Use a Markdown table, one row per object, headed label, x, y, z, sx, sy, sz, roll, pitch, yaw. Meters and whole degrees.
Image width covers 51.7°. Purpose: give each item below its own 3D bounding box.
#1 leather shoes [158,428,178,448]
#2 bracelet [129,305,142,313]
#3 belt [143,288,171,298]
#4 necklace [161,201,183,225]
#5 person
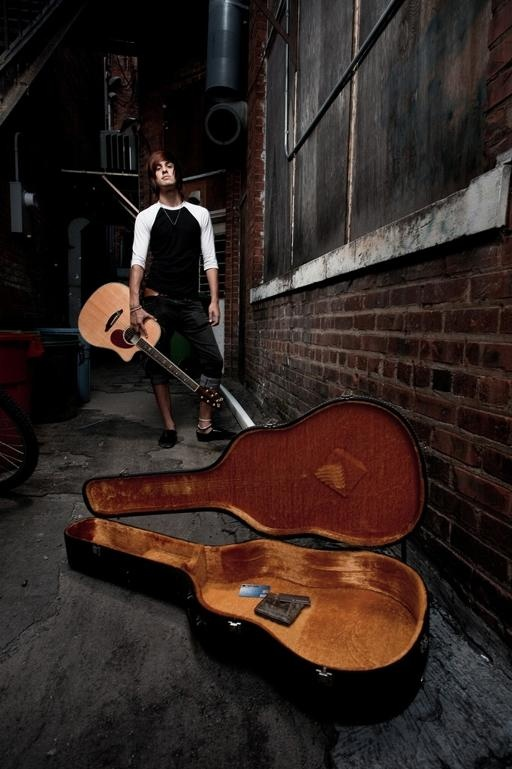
| label | x | y | z | sx | sy | sz | roll | pitch | yaw |
| --- | --- | --- | --- | --- | --- | --- | --- | --- | --- |
| leather shoes | -0.555 | 0.325 | 3.306 | 0.112 | 0.083 | 0.211 | -1 | 9 | -5 |
| bracelet | -0.733 | -0.464 | 3.186 | 0.087 | 0.040 | 0.043 | 5 | 10 | 28 |
| belt | -0.649 | -0.581 | 3.329 | 0.120 | 0.067 | 0.018 | 16 | -12 | 12 |
| necklace | -0.524 | -1.058 | 3.248 | 0.073 | 0.139 | 0.031 | -1 | -20 | 1 |
| person | -0.503 | -0.707 | 3.369 | 0.557 | 1.462 | 0.456 | -1 | 8 | -5 |
